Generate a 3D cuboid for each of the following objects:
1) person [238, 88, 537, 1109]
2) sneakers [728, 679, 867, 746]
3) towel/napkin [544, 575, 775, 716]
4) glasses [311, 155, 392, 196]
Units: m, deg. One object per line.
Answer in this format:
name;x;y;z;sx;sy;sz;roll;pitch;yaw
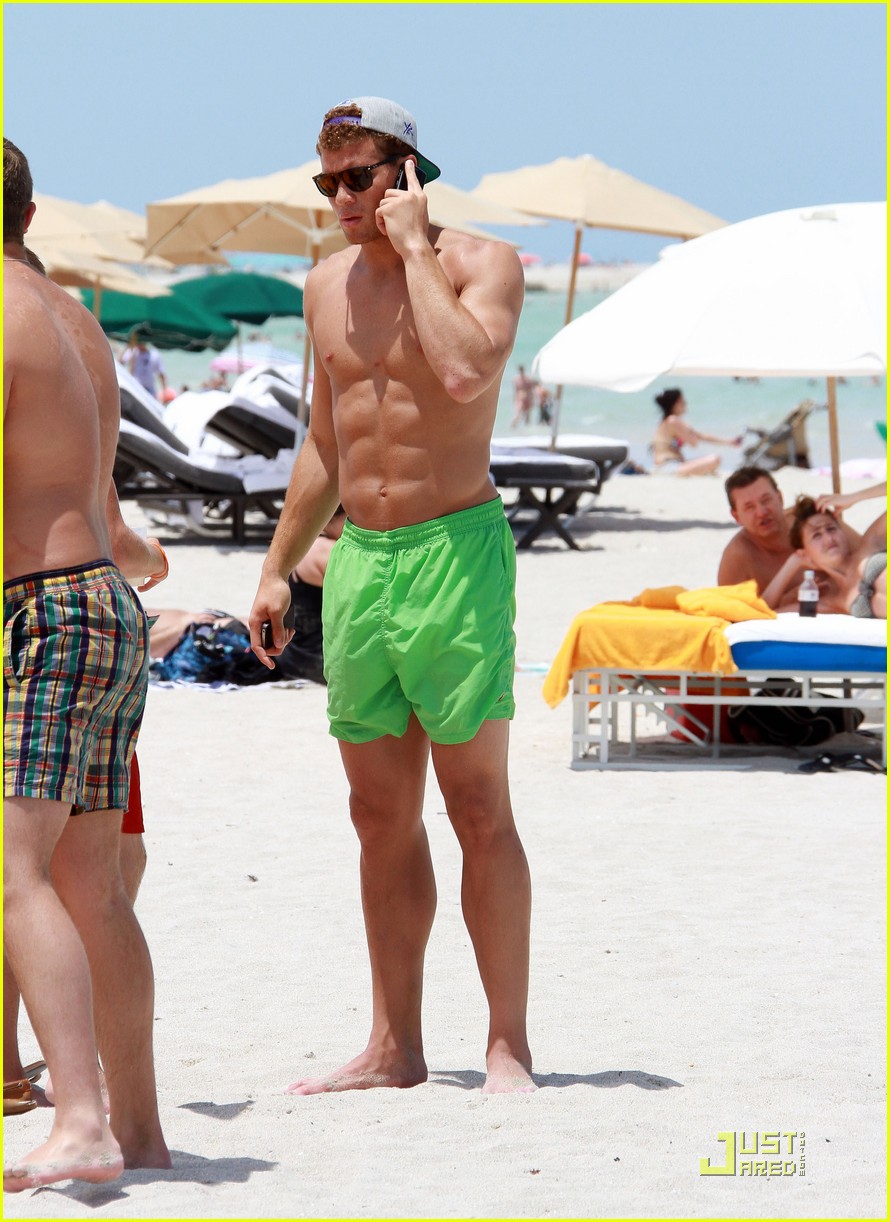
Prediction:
person;-0.053;-0.002;3.212;0.556;1.768;0.650;4;1;-28
sneakers;1.441;0.417;7.060;0.528;0.147;0.275;0;12;5
towel/napkin;0.833;0.098;6.671;0.702;0.273;0.624;-2;8;6
glasses;-0.173;-0.761;3.047;0.090;0.025;0.088;-4;17;38
